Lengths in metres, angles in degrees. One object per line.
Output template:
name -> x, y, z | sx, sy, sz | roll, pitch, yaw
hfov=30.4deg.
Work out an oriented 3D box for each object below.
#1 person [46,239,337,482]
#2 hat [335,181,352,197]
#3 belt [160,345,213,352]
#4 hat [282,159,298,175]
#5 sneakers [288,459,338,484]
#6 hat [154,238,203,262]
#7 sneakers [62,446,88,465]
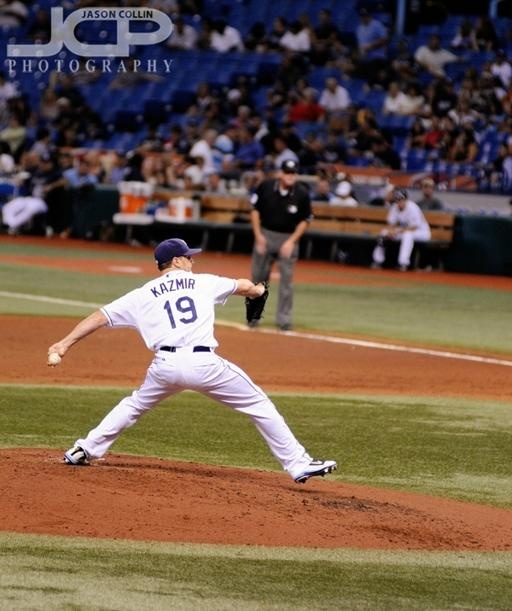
person -> -0.258, 0.284, 4.964 | 1.870, 1.131, 1.010 | -4, -1, 40
hat -> 1.540, -2.042, 16.512 | 0.280, 0.295, 0.153 | 5, 9, 3
belt -> -0.355, 0.219, 4.713 | 0.254, 0.038, 0.059 | 3, 8, -5
hat -> 0.344, -1.429, 9.750 | 0.171, 0.143, 0.213 | 4, 8, 0
sneakers -> 0.300, 0.841, 4.819 | 0.201, 0.125, 0.161 | 5, 8, 6
hat -> -0.410, -0.287, 4.941 | 0.227, 0.085, 0.126 | -15, 8, -7
sneakers -> -0.971, 0.804, 5.022 | 0.099, 0.060, 0.188 | -12, 1, -6
